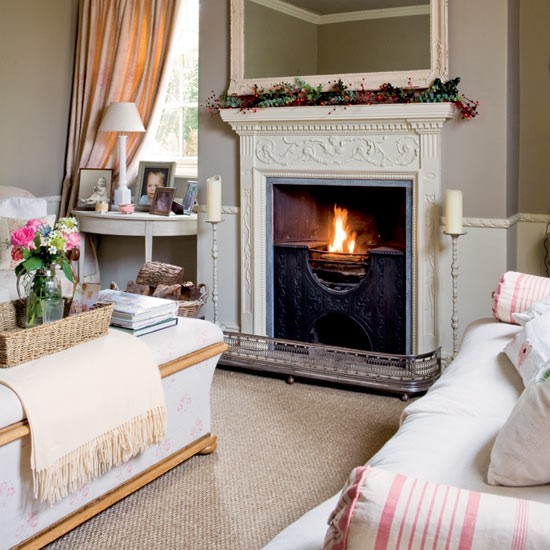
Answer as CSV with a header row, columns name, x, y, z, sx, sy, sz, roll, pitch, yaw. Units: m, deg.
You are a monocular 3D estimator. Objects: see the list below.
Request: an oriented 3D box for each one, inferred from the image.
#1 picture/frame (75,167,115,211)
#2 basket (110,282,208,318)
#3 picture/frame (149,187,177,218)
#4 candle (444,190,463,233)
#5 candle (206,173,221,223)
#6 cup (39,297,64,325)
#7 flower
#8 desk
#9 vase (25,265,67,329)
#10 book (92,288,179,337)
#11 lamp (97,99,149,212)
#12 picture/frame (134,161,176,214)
name,x,y,z,sx,sy,sz,roll,pitch,yaw
picture/frame,-1.676,-0.811,4.486,0.412,0.581,0.037,-3,-23,5
basket,-0.735,0.141,3.252,0.448,0.160,0.359,2,2,19
picture/frame,-0.950,-0.607,4.043,0.264,0.370,0.023,4,-12,37
candle,1.074,-0.380,2.893,0.122,0.258,0.287,3,8,21
candle,-0.430,-0.541,3.390,0.089,0.332,0.206,0,7,-2
cup,-0.819,0.126,1.754,0.073,0.104,0.093,13,15,34
flower,-0.941,-0.059,1.947,0.331,0.609,0.327,-3,10,-34
desk,-1.139,-0.273,4.380,0.599,0.590,1.116,9,8,18
vase,-0.840,0.069,1.788,0.111,0.223,0.114,-3,18,-27
book,-0.546,0.122,2.045,0.196,0.076,0.253,9,9,36
lamp,-1.363,-1.100,4.287,0.370,1.015,0.657,-2,8,-16
picture/frame,-1.059,-0.775,4.237,0.465,0.637,0.062,-1,-9,27
